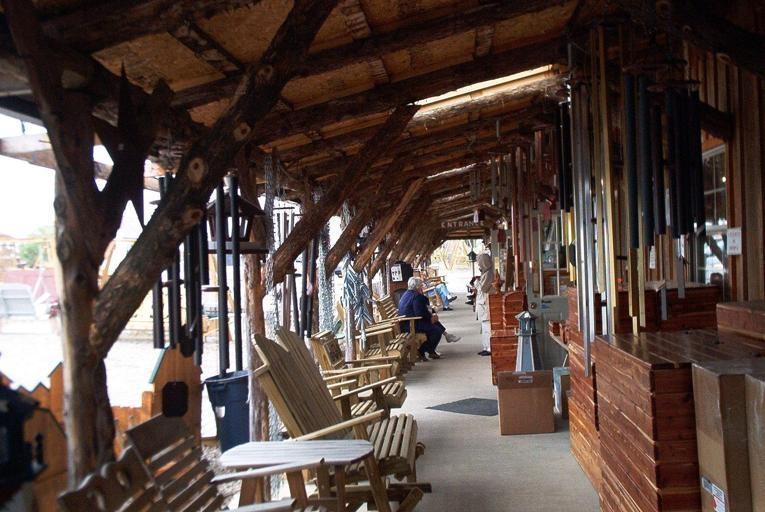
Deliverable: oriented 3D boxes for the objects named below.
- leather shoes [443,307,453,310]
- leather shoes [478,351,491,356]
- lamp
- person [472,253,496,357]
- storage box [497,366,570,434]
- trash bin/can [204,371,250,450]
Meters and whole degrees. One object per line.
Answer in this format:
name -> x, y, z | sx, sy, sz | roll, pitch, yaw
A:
leather shoes -> 2.420, 1.958, 22.959 | 0.396, 0.171, 0.138 | -1, 4, -8
leather shoes -> 1.853, 1.751, 11.280 | 0.193, 0.088, 0.104 | 5, -5, -37
lamp -> -1.160, -0.239, 4.908 | 0.448, 0.474, 0.462 | 0, -2, -12
person -> 1.852, 0.866, 11.222 | 0.367, 1.868, 0.958 | -3, -5, 9
storage box -> 1.504, 1.542, 6.529 | 0.620, 0.428, 0.663 | -1, 1, 6
trash bin/can -> -1.492, 1.560, 6.179 | 0.443, 0.673, 0.556 | -7, -5, 3
